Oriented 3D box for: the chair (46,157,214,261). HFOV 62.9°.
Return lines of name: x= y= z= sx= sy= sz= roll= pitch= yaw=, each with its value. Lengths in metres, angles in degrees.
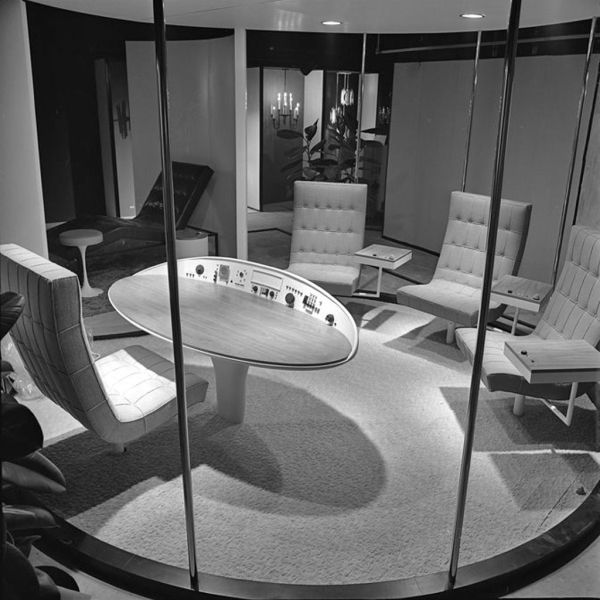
chair: x=-1.618 y=-0.813 z=4.481 sx=1.471 sy=0.805 sz=0.812 roll=-17 pitch=27 yaw=-41
